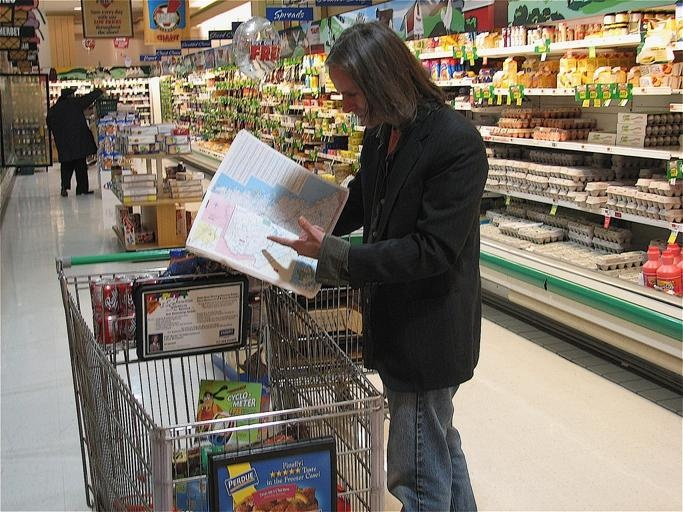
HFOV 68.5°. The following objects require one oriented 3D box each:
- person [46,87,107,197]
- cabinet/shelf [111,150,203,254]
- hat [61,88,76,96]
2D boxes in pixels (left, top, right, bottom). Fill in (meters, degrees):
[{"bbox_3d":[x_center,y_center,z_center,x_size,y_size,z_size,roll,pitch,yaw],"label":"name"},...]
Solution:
[{"bbox_3d":[-6.038,-2.564,11.248,1.004,2.390,1.022,-8,14,-31],"label":"person"},{"bbox_3d":[-2.679,-0.752,7.034,0.878,1.131,1.618,-2,26,-16],"label":"cabinet/shelf"},{"bbox_3d":[-6.220,-3.704,11.343,0.228,0.096,0.339,-5,23,-17],"label":"hat"}]
